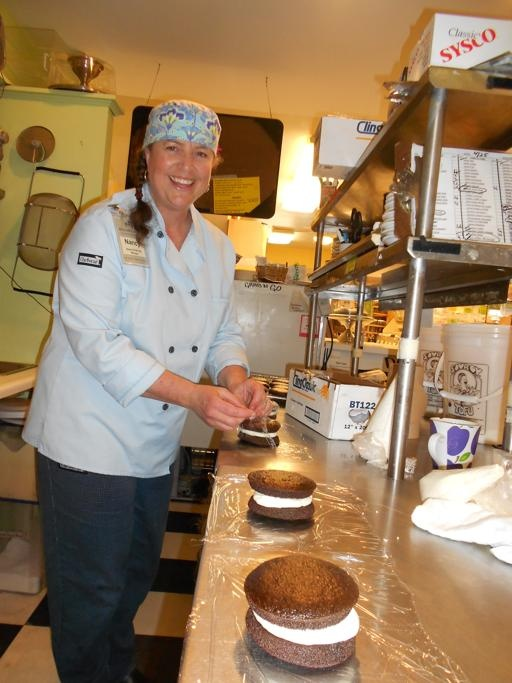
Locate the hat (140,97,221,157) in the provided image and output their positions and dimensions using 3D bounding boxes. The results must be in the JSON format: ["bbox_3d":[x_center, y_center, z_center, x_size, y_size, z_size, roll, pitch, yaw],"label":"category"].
[{"bbox_3d":[-0.191,-0.584,1.327,0.196,0.118,0.204,-8,22,-41],"label":"hat"}]

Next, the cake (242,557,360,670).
[{"bbox_3d":[0.045,0.266,0.496,0.119,0.051,0.134,7,1,15],"label":"cake"}]

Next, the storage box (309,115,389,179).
[{"bbox_3d":[0.328,-0.804,1.930,0.299,0.188,0.280,2,32,-9],"label":"storage box"}]

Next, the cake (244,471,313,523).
[{"bbox_3d":[0.040,0.260,0.818,0.113,0.076,0.099,7,1,-12],"label":"cake"}]

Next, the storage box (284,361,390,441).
[{"bbox_3d":[0.253,0.200,1.640,0.203,0.166,0.365,7,2,-16],"label":"storage box"}]

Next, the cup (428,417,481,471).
[{"bbox_3d":[0.442,0.236,1.105,0.135,0.119,0.086,-4,12,-32],"label":"cup"}]

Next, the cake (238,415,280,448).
[{"bbox_3d":[0.014,0.244,1.347,0.086,0.055,0.084,1,-2,-34],"label":"cake"}]
